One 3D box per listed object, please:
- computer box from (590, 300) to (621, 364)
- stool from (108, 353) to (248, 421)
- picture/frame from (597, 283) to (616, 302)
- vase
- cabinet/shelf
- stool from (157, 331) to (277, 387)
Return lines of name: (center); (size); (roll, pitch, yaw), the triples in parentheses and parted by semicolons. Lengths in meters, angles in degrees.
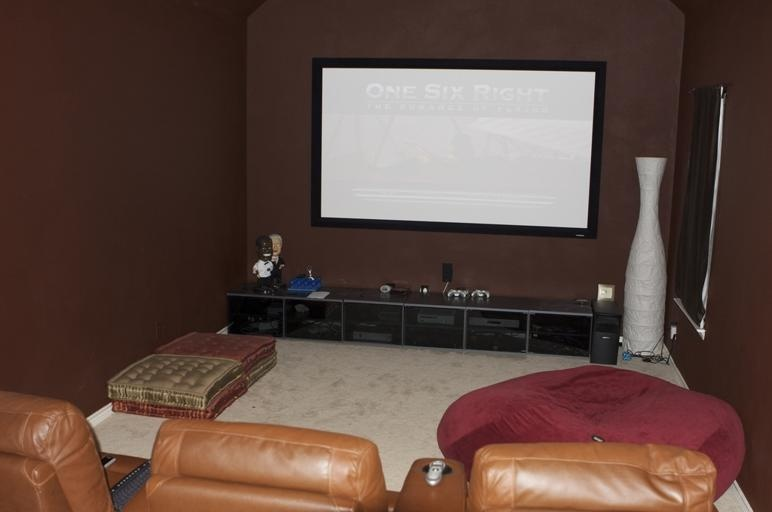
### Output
computer box: (2.085, 0.757, 5.593); (0.254, 0.527, 0.283); (2, 3, 18)
stool: (-1.615, 0.996, 4.524); (0.914, 0.417, 0.529); (2, 2, -1)
picture/frame: (2.262, 0.370, 6.008); (0.182, 0.165, 0.134); (2, 3, 8)
vase: (2.485, 0.014, 5.596); (0.344, 1.882, 0.144); (3, 3, 20)
cabinet/shelf: (0.245, 0.635, 5.950); (3.544, 0.558, 0.393); (2, 3, 6)
stool: (-1.324, 0.770, 4.951); (0.574, 0.217, 0.564); (3, 3, 16)
